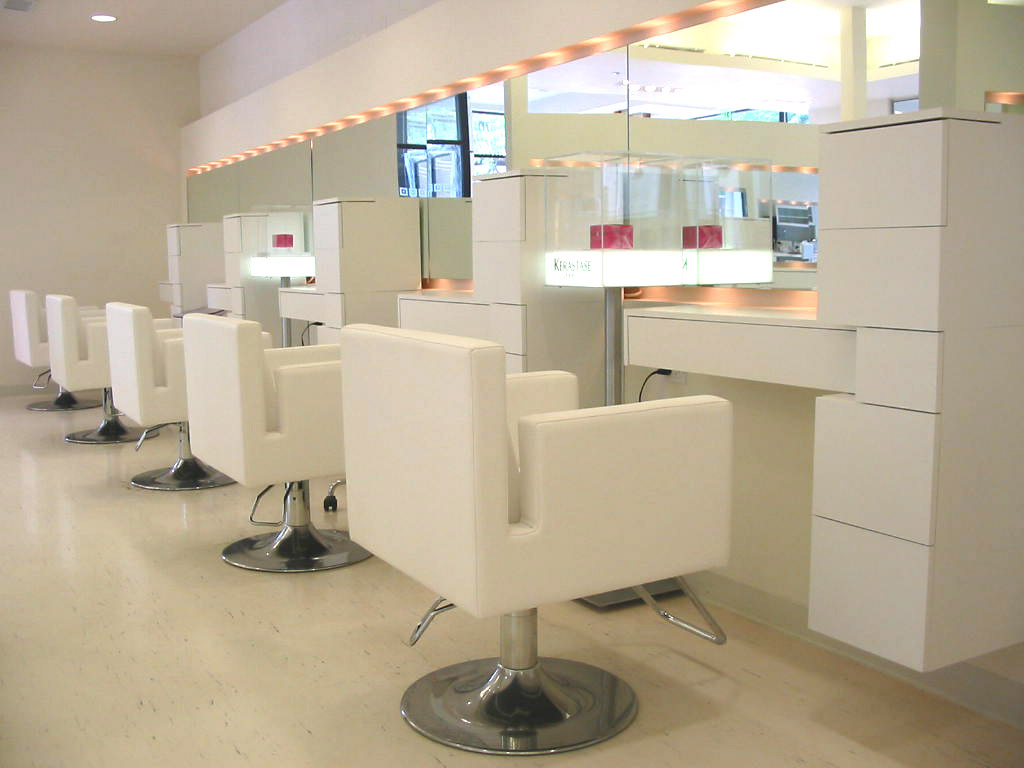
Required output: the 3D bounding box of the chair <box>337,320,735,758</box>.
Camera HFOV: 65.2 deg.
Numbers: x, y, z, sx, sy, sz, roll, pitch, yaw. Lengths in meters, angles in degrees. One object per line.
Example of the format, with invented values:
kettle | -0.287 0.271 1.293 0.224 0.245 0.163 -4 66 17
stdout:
chair | -0.007 0.368 3.038 1.300 1.686 1.193 -7 12 -35
